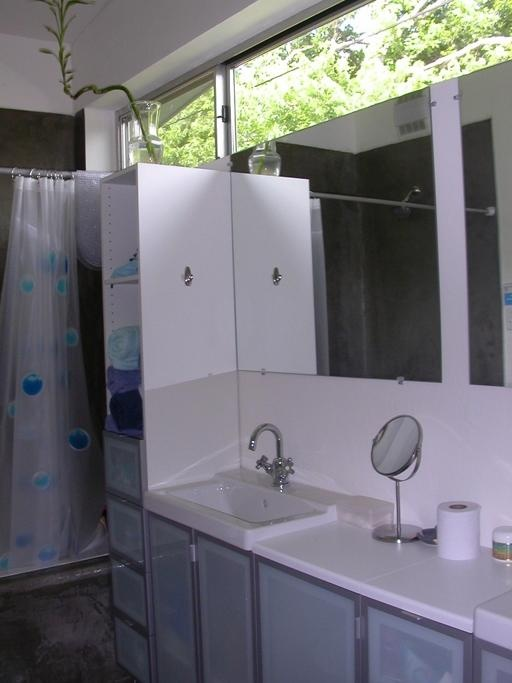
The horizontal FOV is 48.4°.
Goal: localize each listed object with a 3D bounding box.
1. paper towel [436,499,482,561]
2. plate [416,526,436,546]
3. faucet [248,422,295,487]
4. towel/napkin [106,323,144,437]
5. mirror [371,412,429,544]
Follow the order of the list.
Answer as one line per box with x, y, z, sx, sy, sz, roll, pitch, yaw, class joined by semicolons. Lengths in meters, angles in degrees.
0.408;0.358;1.147;0.087;0.114;0.095;3;6;25;paper towel
0.376;0.422;1.248;0.038;0.026;0.099;-5;6;16;plate
0.048;0.341;1.713;0.109;0.200;0.108;-3;0;1;faucet
-0.443;0.138;1.895;0.207;0.324;0.089;0;-5;-17;towel/napkin
0.329;0.306;1.329;0.123;0.283;0.209;-4;6;15;mirror
